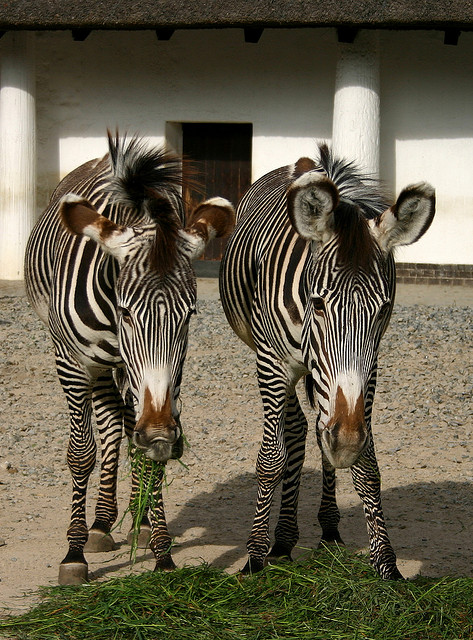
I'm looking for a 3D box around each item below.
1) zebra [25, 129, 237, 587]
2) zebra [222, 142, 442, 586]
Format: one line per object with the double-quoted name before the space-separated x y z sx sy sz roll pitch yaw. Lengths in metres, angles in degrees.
"zebra" -0.661 0.169 5.598 1.084 2.098 3.519 -2 6 -10
"zebra" 0.395 0.089 5.187 0.867 1.686 2.860 -1 4 -5
